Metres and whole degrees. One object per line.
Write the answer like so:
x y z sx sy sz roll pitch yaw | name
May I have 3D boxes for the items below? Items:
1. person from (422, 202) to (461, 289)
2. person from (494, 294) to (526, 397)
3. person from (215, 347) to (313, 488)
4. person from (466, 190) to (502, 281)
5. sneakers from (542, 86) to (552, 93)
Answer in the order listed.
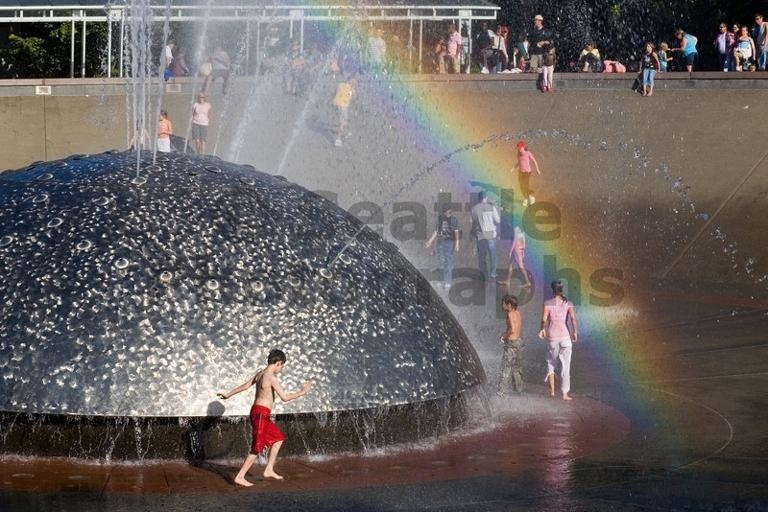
1.256 -0.211 19.245 0.628 1.636 0.957 1 13 -2 | person
1.971 1.380 13.937 0.386 1.492 0.823 3 13 8 | person
-1.347 1.812 10.743 0.955 1.486 0.636 -6 15 -30 | person
2.168 -0.490 19.522 0.565 1.839 0.796 3 13 7 | person
4.703 -4.766 26.225 0.344 0.180 0.198 -1 14 -11 | sneakers
